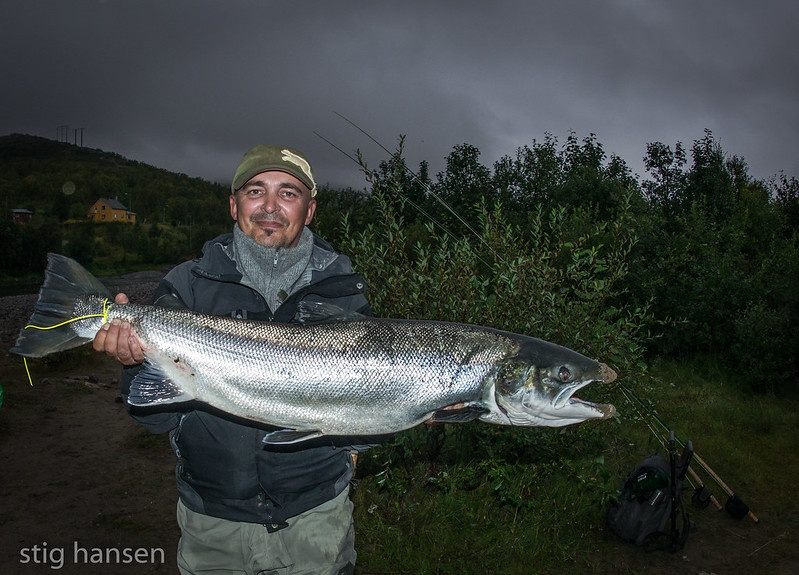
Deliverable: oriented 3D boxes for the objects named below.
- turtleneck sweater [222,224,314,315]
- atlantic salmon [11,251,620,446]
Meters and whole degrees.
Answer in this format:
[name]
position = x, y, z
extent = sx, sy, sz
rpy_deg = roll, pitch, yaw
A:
[turtleneck sweater]
position = -1.107, -0.207, 4.355
extent = 0.595, 0.537, 0.797
rpy_deg = 1, 24, 4
[atlantic salmon]
position = -0.595, 0.508, 3.885
extent = 4.426, 1.315, 0.553
rpy_deg = 3, 4, -1
